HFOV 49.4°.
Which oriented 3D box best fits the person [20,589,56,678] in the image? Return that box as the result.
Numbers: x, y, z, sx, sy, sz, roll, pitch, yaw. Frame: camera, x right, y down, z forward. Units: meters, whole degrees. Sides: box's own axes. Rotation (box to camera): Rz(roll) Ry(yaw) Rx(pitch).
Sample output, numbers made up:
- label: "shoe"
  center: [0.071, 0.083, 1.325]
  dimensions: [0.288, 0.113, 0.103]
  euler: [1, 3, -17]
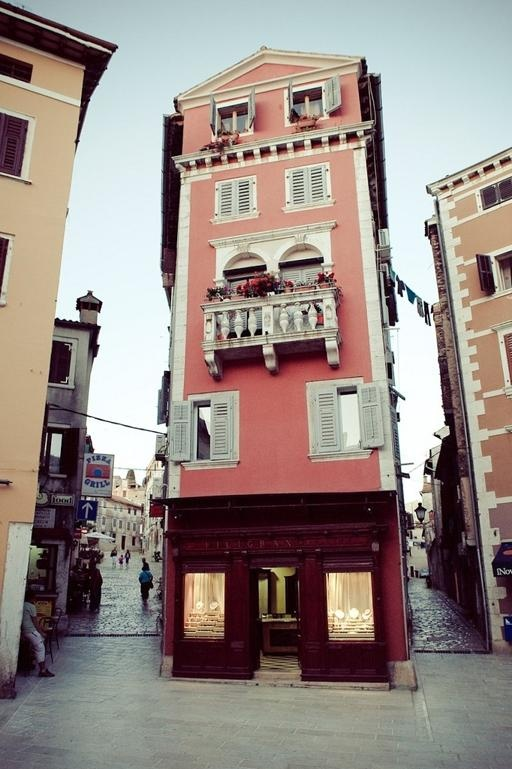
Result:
- label: "person"
  center: [-4.232, 4.884, 10.880]
  dimensions: [0.609, 1.651, 1.982]
  euler: [4, -17, -18]
